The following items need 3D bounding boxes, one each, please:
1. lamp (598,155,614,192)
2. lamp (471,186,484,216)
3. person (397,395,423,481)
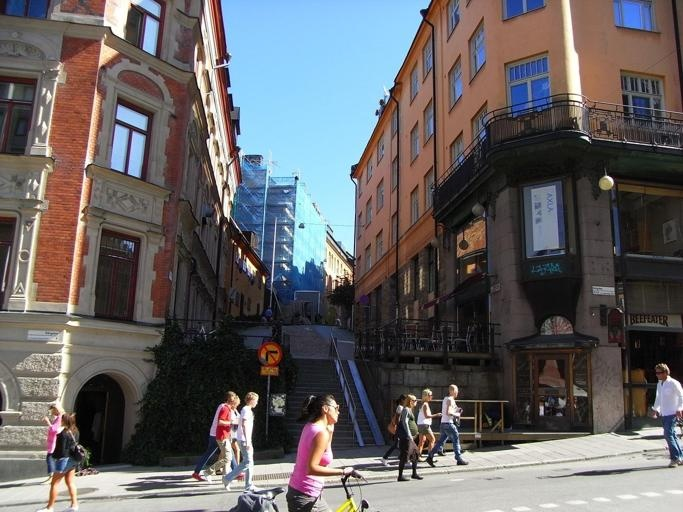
[{"bbox_3d":[9.653,-2.887,21.278,0.514,1.235,1.618,-5,-12,25],"label":"lamp"},{"bbox_3d":[5.697,-2.209,24.118,0.462,1.219,1.582,-3,-12,15],"label":"lamp"},{"bbox_3d":[1.718,4.614,14.825,0.625,2.088,0.881,-1,-11,6],"label":"person"}]
